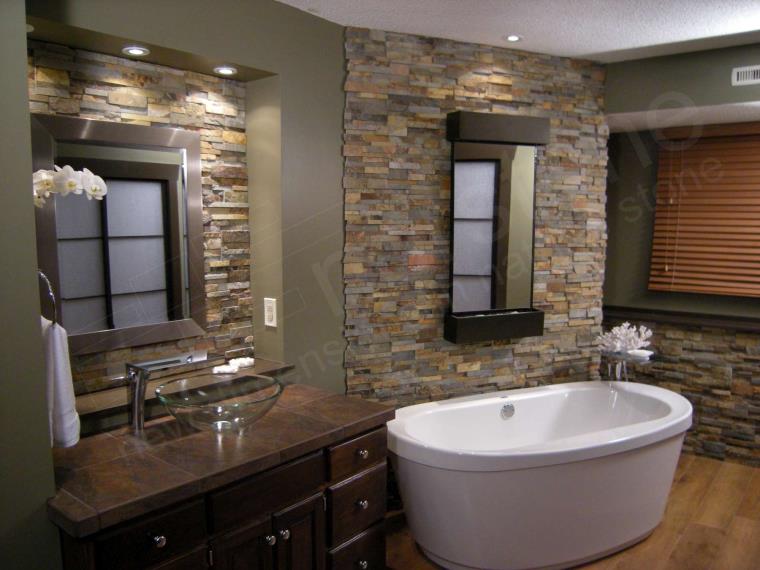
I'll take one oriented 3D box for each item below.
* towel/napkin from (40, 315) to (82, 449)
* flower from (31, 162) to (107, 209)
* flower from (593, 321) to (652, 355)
[{"bbox_3d":[-1.278,0.422,2.208,0.104,0.583,0.305,-5,8,-30],"label":"towel/napkin"},{"bbox_3d":[-1.316,-0.408,2.340,0.260,0.127,0.285,-1,-14,-7],"label":"flower"},{"bbox_3d":[1.836,0.395,4.170,0.362,0.232,0.291,2,7,16],"label":"flower"}]
